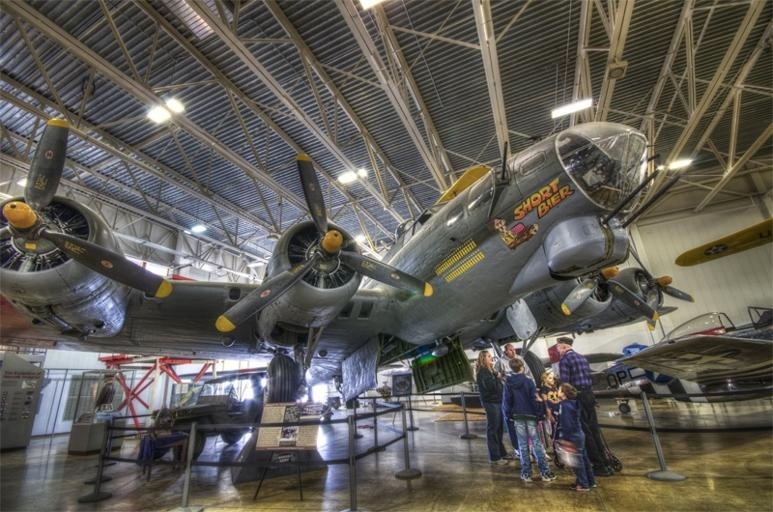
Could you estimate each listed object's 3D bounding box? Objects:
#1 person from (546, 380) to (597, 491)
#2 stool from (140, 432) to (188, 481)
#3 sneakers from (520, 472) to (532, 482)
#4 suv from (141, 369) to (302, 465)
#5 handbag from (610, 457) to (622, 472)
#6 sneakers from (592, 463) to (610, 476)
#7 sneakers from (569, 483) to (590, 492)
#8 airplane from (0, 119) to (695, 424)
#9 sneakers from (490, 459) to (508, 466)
[{"bbox_3d":[3.597,3.472,8.663,0.571,1.979,0.363,-9,-10,17],"label":"person"},{"bbox_3d":[-5.882,5.255,12.326,1.162,1.027,1.276,1,-2,-22],"label":"stool"},{"bbox_3d":[2.858,4.428,9.009,0.233,0.142,0.152,-5,-9,6],"label":"sneakers"},{"bbox_3d":[-3.926,4.432,13.070,3.029,2.134,4.241,-15,-21,31],"label":"suv"},{"bbox_3d":[4.696,4.244,9.184,0.246,0.280,0.114,2,-38,-14],"label":"handbag"},{"bbox_3d":[4.345,4.287,8.986,0.182,0.150,0.376,12,-23,-19],"label":"sneakers"},{"bbox_3d":[3.730,4.403,8.564,0.124,0.098,0.261,6,-17,-27],"label":"sneakers"},{"bbox_3d":[-0.979,-0.003,9.677,12.242,6.053,3.571,-4,-9,3],"label":"airplane"},{"bbox_3d":[2.541,4.576,9.979,0.295,0.099,0.133,-11,-14,25],"label":"sneakers"}]
